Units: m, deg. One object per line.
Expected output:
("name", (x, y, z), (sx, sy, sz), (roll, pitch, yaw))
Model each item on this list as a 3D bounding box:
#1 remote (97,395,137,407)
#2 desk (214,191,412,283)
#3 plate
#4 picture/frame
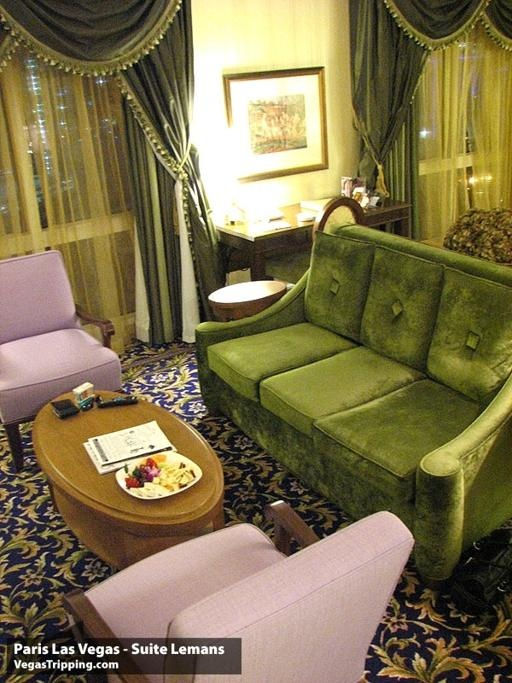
("remote", (-0.652, 0.276, 2.534), (0.089, 0.019, 0.085), (-6, 11, -35))
("desk", (0.321, -0.709, 3.696), (0.907, 0.424, 0.334), (-25, 43, -27))
("plate", (-0.358, 0.473, 1.975), (0.268, 0.069, 0.286), (-16, 20, -35))
("picture/frame", (0.112, -1.721, 4.242), (0.954, 0.836, 0.062), (-15, 28, -27))
